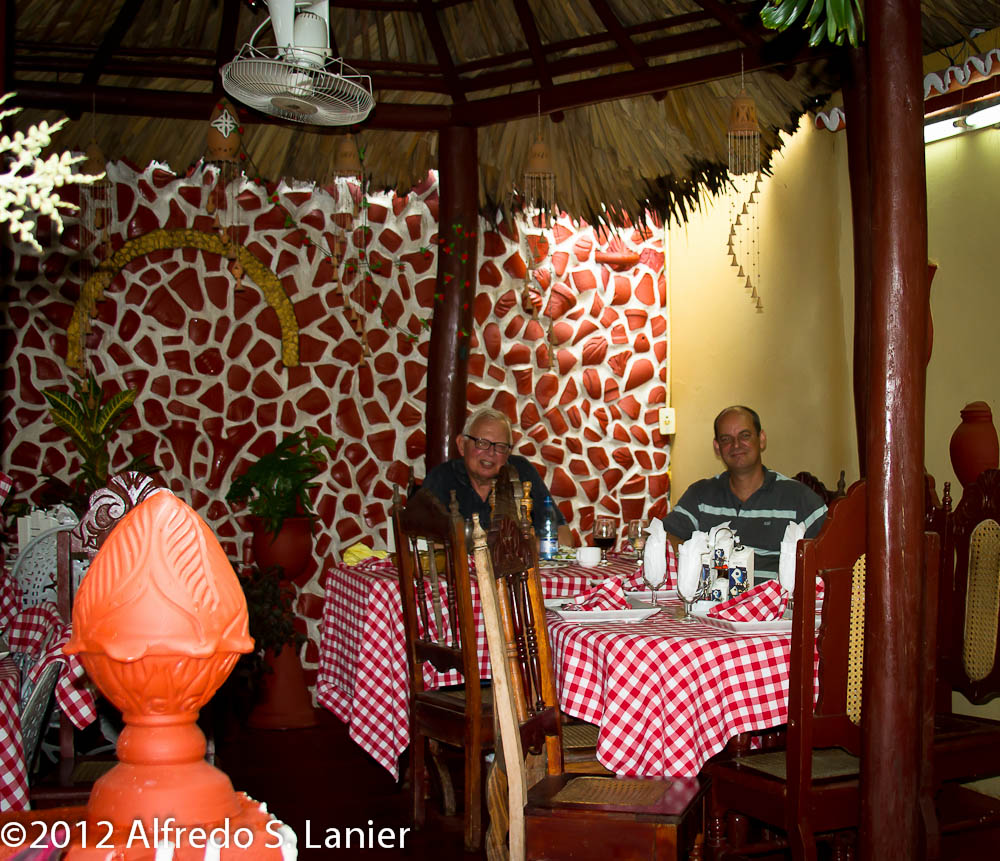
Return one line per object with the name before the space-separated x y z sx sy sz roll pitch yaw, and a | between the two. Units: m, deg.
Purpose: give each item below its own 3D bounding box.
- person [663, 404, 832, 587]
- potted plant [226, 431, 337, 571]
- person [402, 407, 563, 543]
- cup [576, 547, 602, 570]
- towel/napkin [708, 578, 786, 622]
person | 0.993 0.349 3.893 0.784 0.868 0.254 -3 -3 32
potted plant | -1.089 0.360 4.841 0.401 0.774 0.484 3 10 -22
person | -0.064 0.173 4.091 0.565 0.899 0.457 0 -8 -11
cup | 0.348 0.493 3.679 0.064 0.063 0.078 -2 2 -2
towel/napkin | 0.659 0.457 2.501 0.135 0.059 0.109 -16 24 -11
